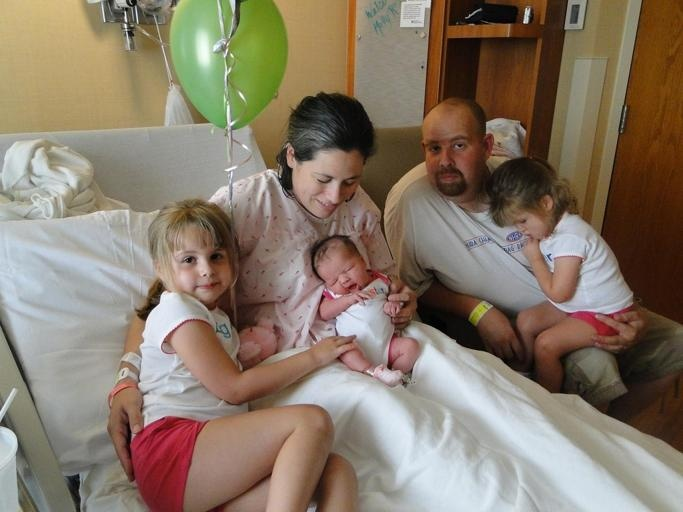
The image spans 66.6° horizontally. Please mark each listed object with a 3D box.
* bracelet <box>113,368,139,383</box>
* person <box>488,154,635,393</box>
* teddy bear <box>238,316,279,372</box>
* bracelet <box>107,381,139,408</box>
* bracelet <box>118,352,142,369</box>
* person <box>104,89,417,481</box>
[{"bbox_3d":[-0.688,0.380,1.655,0.059,0.031,0.043,4,-3,-32],"label":"bracelet"},{"bbox_3d":[0.960,0.130,2.320,0.568,1.178,0.446,-11,11,12],"label":"person"},{"bbox_3d":[-0.295,0.303,1.818,0.132,0.123,0.053,-35,-4,-26],"label":"teddy bear"},{"bbox_3d":[-0.691,0.430,1.612,0.073,0.084,0.031,2,-19,-7],"label":"bracelet"},{"bbox_3d":[-0.690,0.354,1.692,0.054,0.047,0.055,-28,-26,28],"label":"bracelet"},{"bbox_3d":[-0.195,0.094,1.977,1.048,1.448,0.770,4,21,-13],"label":"person"}]
